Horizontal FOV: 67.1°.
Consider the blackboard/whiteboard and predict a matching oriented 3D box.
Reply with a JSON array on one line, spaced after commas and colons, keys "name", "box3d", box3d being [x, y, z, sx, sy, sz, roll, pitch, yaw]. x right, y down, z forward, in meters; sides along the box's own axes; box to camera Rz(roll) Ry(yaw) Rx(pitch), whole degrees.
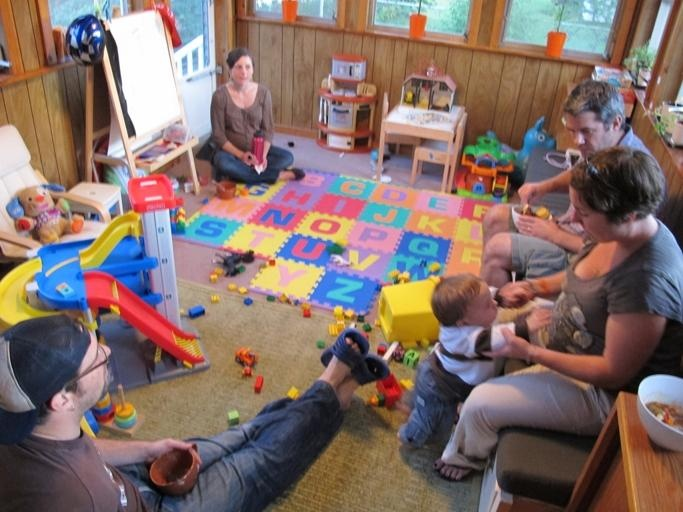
[{"name": "blackboard/whiteboard", "box3d": [-1.570, -1.452, 4.122, 0.207, 0.878, 0.719, 13, 29, 14]}]

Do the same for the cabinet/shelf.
[{"name": "cabinet/shelf", "box3d": [0.068, -1.492, 5.653, 0.725, 0.759, 0.682, 7, 32, 7]}]

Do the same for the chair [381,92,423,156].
[{"name": "chair", "box3d": [0.582, -1.292, 4.933, 0.342, 0.499, 0.508, 9, 42, 10]}]

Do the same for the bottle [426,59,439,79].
[{"name": "bottle", "box3d": [0.867, -1.766, 4.904, 0.120, 0.140, 0.132, 20, 31, 25]}]

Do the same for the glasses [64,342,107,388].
[{"name": "glasses", "box3d": [-0.843, 0.358, 1.692, 0.105, 0.028, 0.102, -47, 35, -1]}]

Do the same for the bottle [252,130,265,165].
[{"name": "bottle", "box3d": [-0.755, -0.998, 4.707, 0.113, 0.194, 0.343, 1, 29, -9]}]

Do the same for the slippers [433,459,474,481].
[{"name": "slippers", "box3d": [0.544, 1.044, 2.506, 0.227, 0.109, 0.078, 2, 72, 16]}]

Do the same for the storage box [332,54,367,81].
[{"name": "storage box", "box3d": [0.064, -1.880, 5.155, 0.374, 0.269, 0.238, 8, 37, 10]}]

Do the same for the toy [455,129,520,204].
[{"name": "toy", "box3d": [1.369, -0.830, 4.891, 0.594, 0.689, 0.615, 11, 47, 11]}]

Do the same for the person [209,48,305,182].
[{"name": "person", "box3d": [-0.842, -1.380, 4.981, 0.785, 1.200, 0.846, -24, 52, -31]}]

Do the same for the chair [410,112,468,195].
[{"name": "chair", "box3d": [0.908, -0.957, 4.809, 0.382, 0.728, 0.391, 15, 44, 11]}]

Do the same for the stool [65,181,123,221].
[{"name": "stool", "box3d": [-1.769, -0.391, 3.662, 0.244, 0.261, 0.264, 7, 42, -5]}]

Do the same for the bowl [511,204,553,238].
[{"name": "bowl", "box3d": [1.119, -0.227, 3.094, 0.244, 0.158, 0.227, -2, 25, 1]}]

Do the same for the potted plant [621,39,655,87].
[{"name": "potted plant", "box3d": [2.513, -1.636, 4.359, 0.181, 0.313, 0.542, 16, 30, 19]}]
